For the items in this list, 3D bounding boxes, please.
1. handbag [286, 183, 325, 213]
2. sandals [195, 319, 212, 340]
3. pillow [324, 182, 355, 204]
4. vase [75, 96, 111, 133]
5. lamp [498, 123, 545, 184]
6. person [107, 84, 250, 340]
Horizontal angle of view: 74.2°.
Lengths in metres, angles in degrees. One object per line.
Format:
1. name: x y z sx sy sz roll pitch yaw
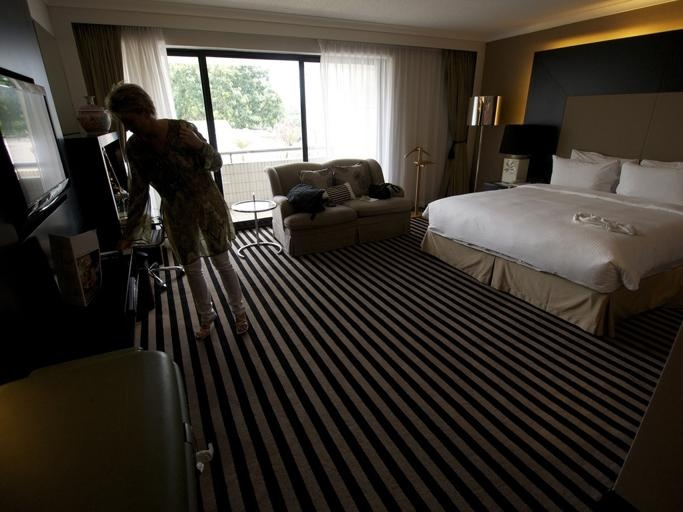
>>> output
1. handbag: -0.379 -0.588 4.724 0.399 0.221 0.261 12 26 25
2. sandals: -1.017 0.543 3.312 0.066 0.090 0.195 0 2 -9
3. pillow: -0.018 -0.693 5.049 0.285 0.234 0.077 -17 1 -30
4. vase: -1.858 -1.050 3.380 0.215 0.292 0.228 -11 11 -20
5. lamp: 2.267 -1.273 5.627 0.500 0.751 0.506 -17 30 -23
6. person: -1.078 -0.222 3.027 0.728 1.755 0.241 -11 23 -26
